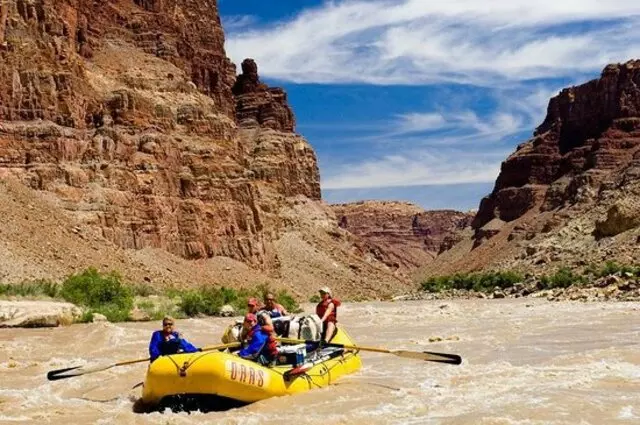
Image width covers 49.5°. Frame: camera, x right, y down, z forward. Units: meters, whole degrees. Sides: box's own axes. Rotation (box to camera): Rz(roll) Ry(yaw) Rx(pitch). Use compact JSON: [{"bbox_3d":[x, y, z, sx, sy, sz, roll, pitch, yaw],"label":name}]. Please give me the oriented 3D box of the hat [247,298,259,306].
[{"bbox_3d":[-2.563,3.361,26.192,0.427,0.247,0.512,-3,-13,3],"label":"hat"}]
